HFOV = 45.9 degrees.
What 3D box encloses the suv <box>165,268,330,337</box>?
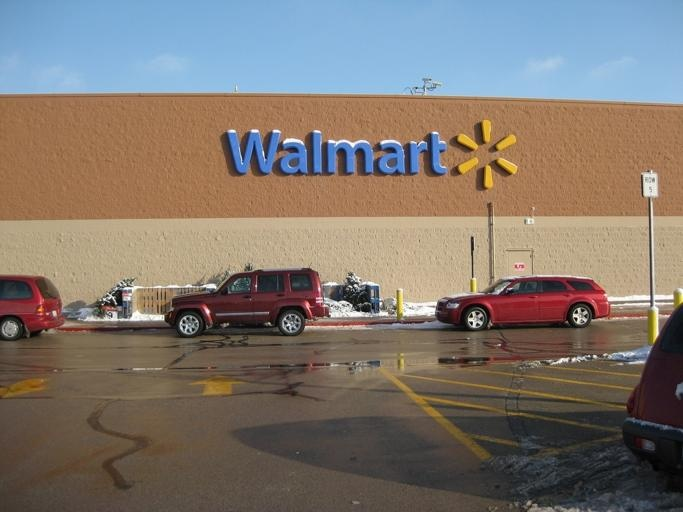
[{"bbox_3d":[-2.770,1.365,23.808,4.109,1.776,2.060,2,-4,-1],"label":"suv"}]
